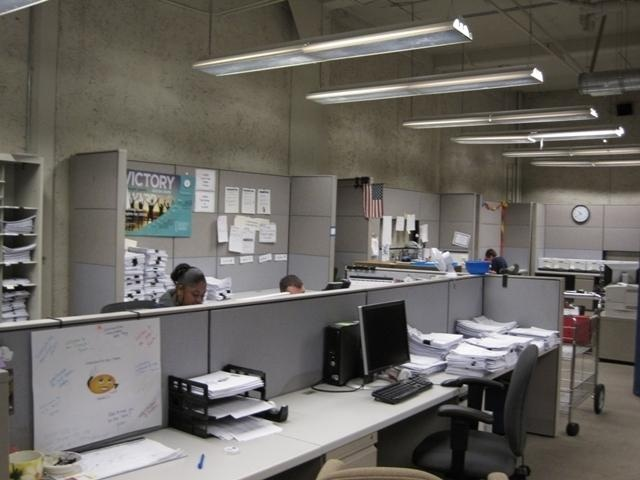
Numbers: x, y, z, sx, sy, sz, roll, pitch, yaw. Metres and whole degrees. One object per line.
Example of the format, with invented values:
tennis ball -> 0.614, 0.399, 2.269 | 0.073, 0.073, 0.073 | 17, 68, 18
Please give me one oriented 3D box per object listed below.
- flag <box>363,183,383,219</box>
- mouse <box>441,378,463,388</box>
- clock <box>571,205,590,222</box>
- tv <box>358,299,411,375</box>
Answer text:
flag -> 0.760, -0.585, 7.742 | 0.518, 0.638, 0.071 | 0, 0, -27
mouse -> 0.843, 0.909, 3.363 | 0.110, 0.042, 0.060 | 0, 2, 0
clock -> 5.755, -0.591, 11.579 | 0.369, 0.436, 0.065 | -1, -2, 45
tv -> 0.448, 0.628, 3.444 | 0.044, 0.414, 0.499 | 5, -18, -26
